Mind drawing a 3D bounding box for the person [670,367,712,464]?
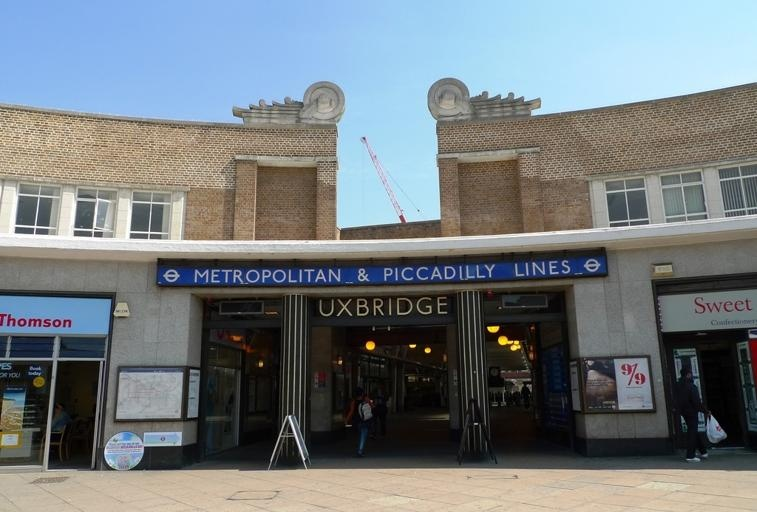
[{"bbox_3d":[8.460,4.186,16.253,0.639,2.438,0.839,-7,-11,23],"label":"person"}]

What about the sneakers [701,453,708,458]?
[{"bbox_3d":[8.762,5.327,16.143,0.091,0.087,0.248,-2,-12,20],"label":"sneakers"}]

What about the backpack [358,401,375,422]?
[{"bbox_3d":[-0.364,4.861,18.986,0.405,0.603,0.309,0,-10,-12],"label":"backpack"}]

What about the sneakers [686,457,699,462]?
[{"bbox_3d":[8.297,5.352,15.860,0.386,0.123,0.116,-1,-6,-3],"label":"sneakers"}]

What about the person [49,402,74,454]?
[{"bbox_3d":[-9.676,5.361,18.478,0.563,1.638,1.247,2,-10,-26],"label":"person"}]
